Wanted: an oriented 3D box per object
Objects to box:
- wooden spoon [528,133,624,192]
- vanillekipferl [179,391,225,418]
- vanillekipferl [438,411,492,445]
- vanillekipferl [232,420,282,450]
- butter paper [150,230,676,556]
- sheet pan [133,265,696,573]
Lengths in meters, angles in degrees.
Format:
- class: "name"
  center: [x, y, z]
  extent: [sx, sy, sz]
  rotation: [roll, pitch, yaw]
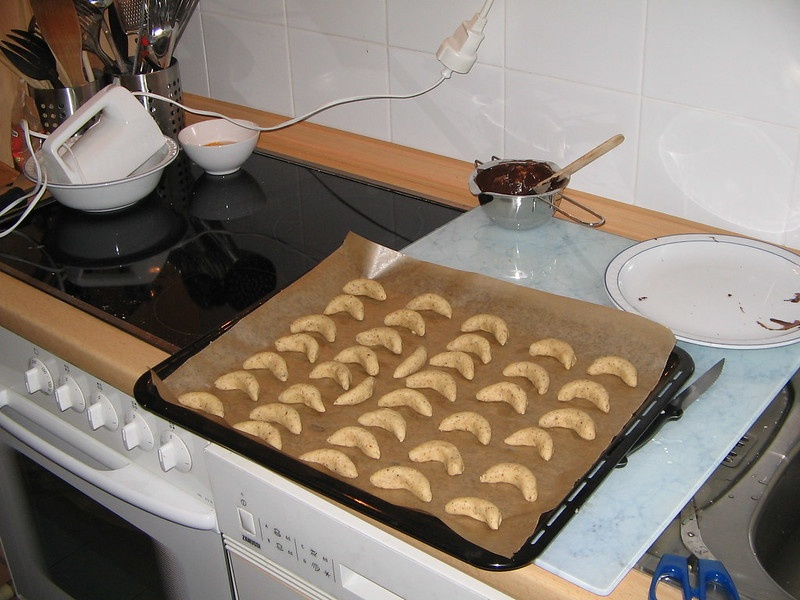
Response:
- class: "wooden spoon"
  center: [0.340, -0.263, 1.191]
  extent: [0.024, 0.271, 0.038]
  rotation: [-4, 67, -38]
- class: "vanillekipferl"
  center: [-0.272, 0.143, 0.868]
  extent: [0.041, 0.014, 0.041]
  rotation: [28, 36, 19]
- class: "vanillekipferl"
  center: [0.090, 0.168, 0.836]
  extent: [0.063, 0.017, 0.037]
  rotation: [20, 57, 25]
- class: "vanillekipferl"
  center: [-0.185, 0.176, 0.837]
  extent: [0.078, 0.012, 0.027]
  rotation: [22, 56, 19]
- class: "butter paper"
  center: [0.016, 0.112, 0.912]
  extent: [0.717, 0.068, 0.611]
  rotation: [8, 30, 23]
- class: "sheet pan"
  center: [0.011, 0.120, 0.902]
  extent: [0.658, 0.070, 0.551]
  rotation: [20, 36, 37]
